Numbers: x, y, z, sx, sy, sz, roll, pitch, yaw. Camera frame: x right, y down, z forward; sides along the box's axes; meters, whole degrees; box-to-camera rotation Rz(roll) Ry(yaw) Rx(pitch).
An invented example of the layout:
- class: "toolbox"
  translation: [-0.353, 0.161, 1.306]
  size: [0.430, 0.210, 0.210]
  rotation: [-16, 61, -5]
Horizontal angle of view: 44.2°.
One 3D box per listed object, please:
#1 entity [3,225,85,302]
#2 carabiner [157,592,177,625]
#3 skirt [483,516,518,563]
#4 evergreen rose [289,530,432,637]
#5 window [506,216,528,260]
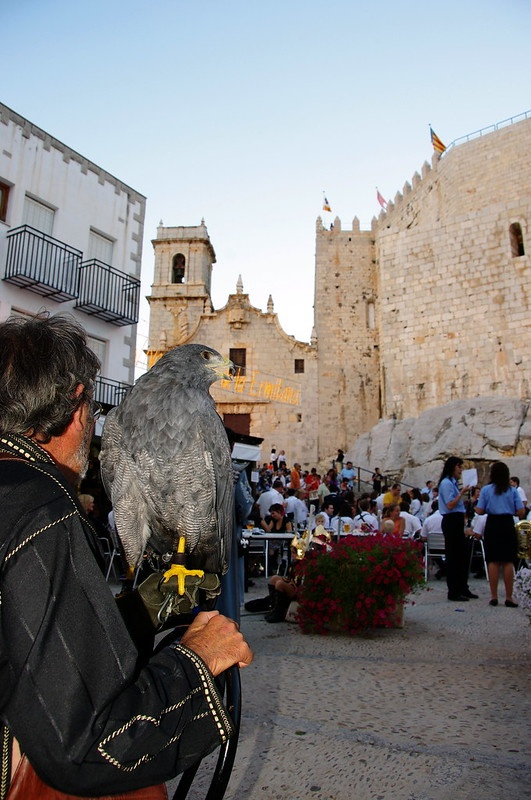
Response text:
- class: "entity"
  translation: [-4.998, -2.993, 14.453]
  size: [0.601, 1.241, 1.802]
  rotation: [-7, -16, 25]
- class: "carabiner"
  translation: [-0.277, 0.580, 1.791]
  size: [0.026, 0.018, 0.073]
  rotation: [13, 15, 0]
- class: "skirt"
  translation: [2.603, 1.568, 7.289]
  size: [0.359, 0.535, 0.260]
  rotation: [-6, -11, 26]
- class: "evergreen rose"
  translation: [0.924, 1.772, 6.623]
  size: [1.073, 0.805, 0.986]
  rotation: [-4, 2, 4]
- class: "window"
  translation: [10.477, -6.493, 27.083]
  size: [0.592, 1.768, 1.302]
  rotation: [-8, -12, 31]
